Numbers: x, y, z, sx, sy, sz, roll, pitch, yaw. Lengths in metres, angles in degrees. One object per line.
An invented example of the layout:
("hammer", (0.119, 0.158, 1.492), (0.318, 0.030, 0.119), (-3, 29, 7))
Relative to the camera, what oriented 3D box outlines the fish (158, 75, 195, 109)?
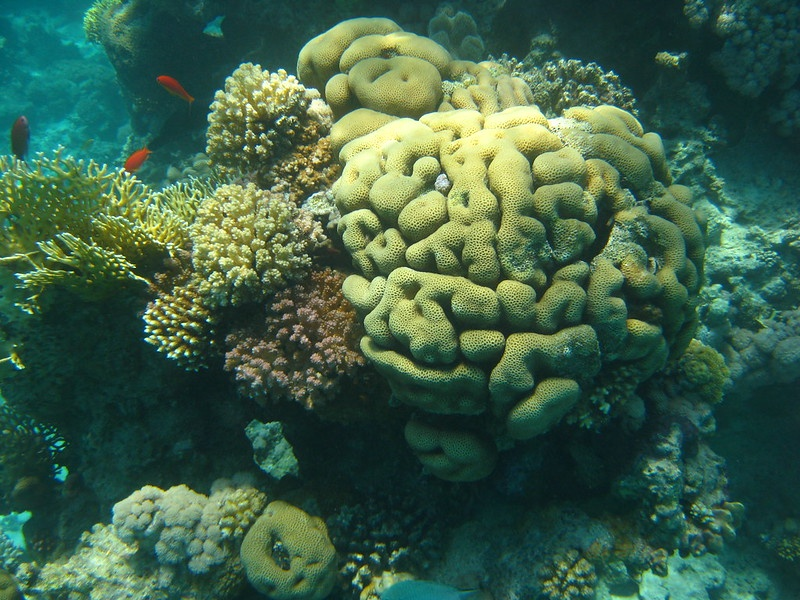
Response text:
("fish", (-3.716, -3.502, 15.100), (0.339, 0.833, 0.182), (-14, 59, 37))
